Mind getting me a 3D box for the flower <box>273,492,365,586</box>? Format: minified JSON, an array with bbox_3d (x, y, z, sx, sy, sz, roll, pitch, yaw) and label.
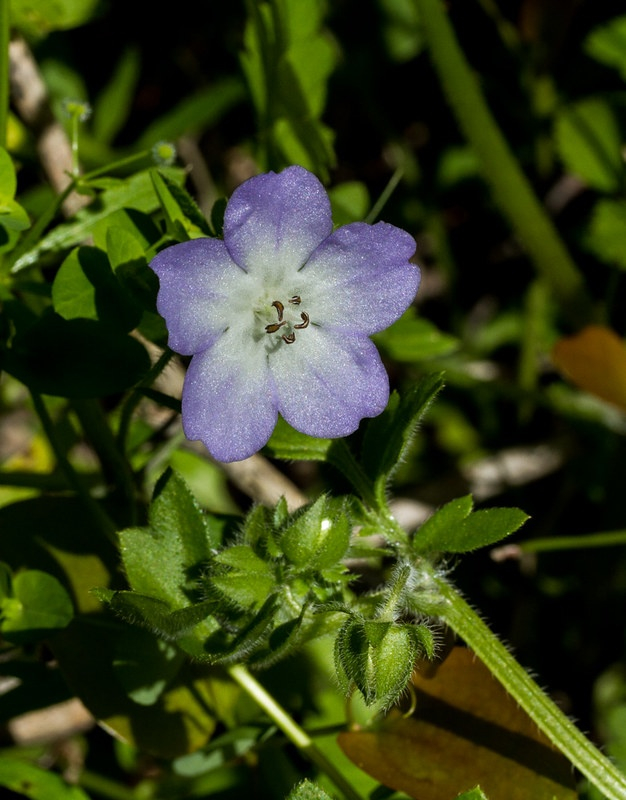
[{"bbox_3d":[0.011,0.179,1.060,0.122,0.099,0.040,-50,7,9],"label":"flower"}]
